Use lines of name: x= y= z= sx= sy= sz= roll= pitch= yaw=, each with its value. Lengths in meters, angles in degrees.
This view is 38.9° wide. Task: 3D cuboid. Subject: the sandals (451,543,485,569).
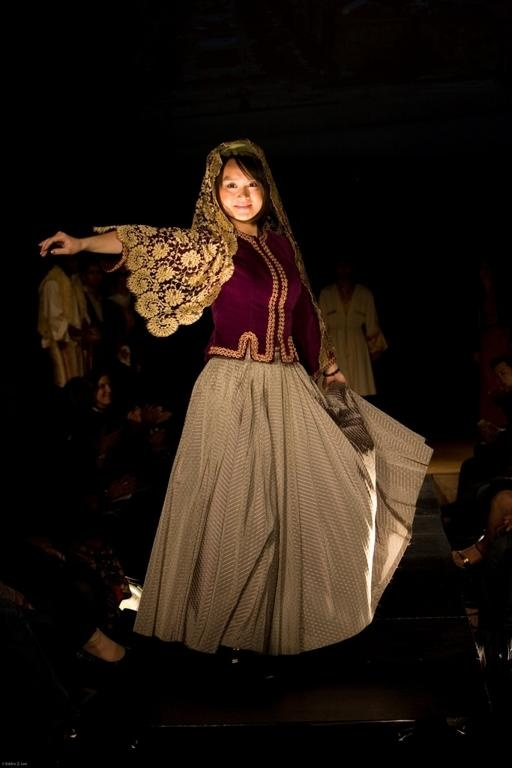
sandals: x=0.822 y=0.663 z=2.804 sx=0.129 sy=0.066 sz=0.030 roll=-28 pitch=-56 yaw=24
